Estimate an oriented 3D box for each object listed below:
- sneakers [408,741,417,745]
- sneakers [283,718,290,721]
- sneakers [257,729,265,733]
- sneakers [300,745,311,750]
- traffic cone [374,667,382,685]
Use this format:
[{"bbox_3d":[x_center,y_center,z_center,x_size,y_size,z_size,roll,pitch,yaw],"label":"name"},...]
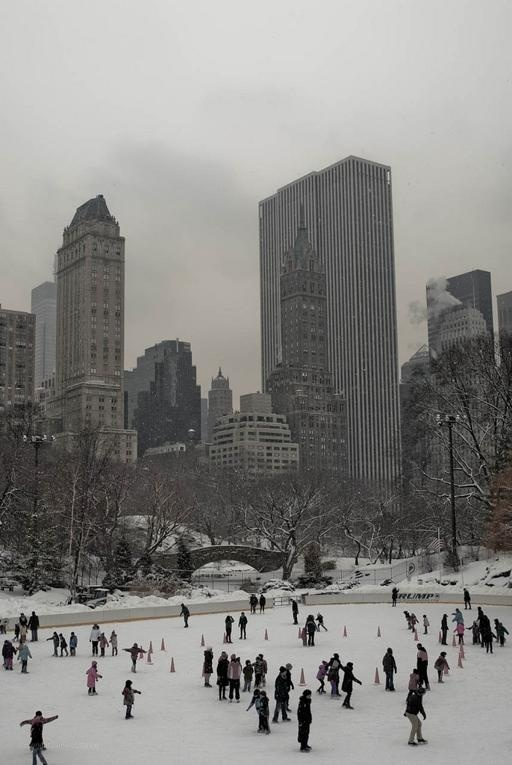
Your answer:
[{"bbox_3d":[3.618,8.350,29.904,0.191,0.101,0.261,-3,-12,6],"label":"sneakers"},{"bbox_3d":[0.796,8.556,32.782,0.189,0.104,0.327,-2,-12,1],"label":"sneakers"},{"bbox_3d":[0.117,8.453,31.319,0.164,0.117,0.239,-2,-12,0],"label":"sneakers"},{"bbox_3d":[1.163,8.387,29.648,0.174,0.119,0.472,-7,-13,26],"label":"sneakers"},{"bbox_3d":[3.458,8.385,36.660,0.286,0.529,0.281,1,-5,-44],"label":"traffic cone"}]
